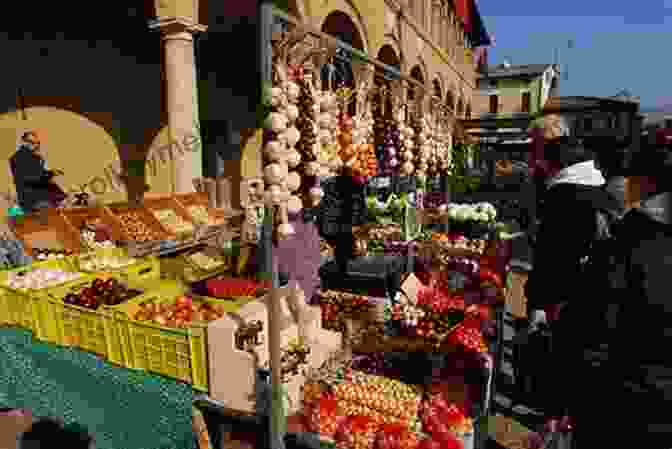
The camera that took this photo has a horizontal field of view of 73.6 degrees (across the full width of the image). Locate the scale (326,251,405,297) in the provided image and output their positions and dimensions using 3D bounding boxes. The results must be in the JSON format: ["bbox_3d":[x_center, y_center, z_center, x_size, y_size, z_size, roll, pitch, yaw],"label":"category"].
[{"bbox_3d":[0.411,0.464,4.805,0.747,0.388,1.156,6,13,26],"label":"scale"}]

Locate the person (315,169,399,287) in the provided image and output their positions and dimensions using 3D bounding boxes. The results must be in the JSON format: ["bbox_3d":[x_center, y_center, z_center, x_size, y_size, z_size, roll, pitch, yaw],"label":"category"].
[{"bbox_3d":[0.165,-0.078,5.138,0.532,1.825,0.618,4,7,36],"label":"person"}]

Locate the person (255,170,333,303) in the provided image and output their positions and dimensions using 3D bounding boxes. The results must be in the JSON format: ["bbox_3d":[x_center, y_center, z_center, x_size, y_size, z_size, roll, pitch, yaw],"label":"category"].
[{"bbox_3d":[-0.347,0.179,3.964,0.452,1.330,0.478,3,7,26],"label":"person"}]

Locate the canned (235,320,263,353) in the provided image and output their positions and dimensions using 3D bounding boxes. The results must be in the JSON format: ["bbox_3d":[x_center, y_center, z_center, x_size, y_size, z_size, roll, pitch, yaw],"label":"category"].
[{"bbox_3d":[-0.685,0.854,3.466,0.139,0.215,0.182,9,15,33],"label":"canned"}]

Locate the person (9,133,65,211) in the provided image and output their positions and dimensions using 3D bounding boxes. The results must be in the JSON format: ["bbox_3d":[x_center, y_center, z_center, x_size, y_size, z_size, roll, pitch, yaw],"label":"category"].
[{"bbox_3d":[-4.362,-0.459,6.655,0.616,1.681,0.700,-11,9,-38],"label":"person"}]

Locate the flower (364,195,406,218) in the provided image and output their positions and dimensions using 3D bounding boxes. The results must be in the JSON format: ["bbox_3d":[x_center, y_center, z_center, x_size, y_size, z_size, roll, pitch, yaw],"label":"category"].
[{"bbox_3d":[1.121,-0.413,10.089,0.634,0.385,0.728,12,16,43],"label":"flower"}]
